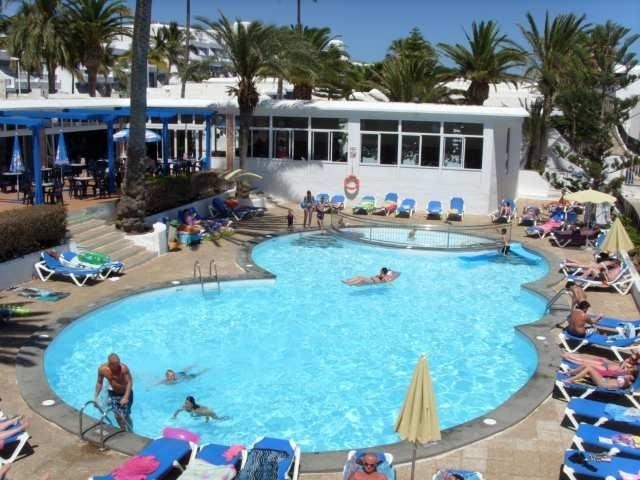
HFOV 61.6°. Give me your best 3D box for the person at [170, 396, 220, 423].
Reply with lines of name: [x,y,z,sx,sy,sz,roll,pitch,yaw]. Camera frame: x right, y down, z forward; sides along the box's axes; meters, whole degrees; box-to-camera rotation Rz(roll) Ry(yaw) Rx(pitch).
person: [-2.594,3.548,11.265,0.857,0.359,0.466,8,-3,-10]

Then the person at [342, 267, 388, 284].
person: [1.640,1.277,18.282,1.396,0.504,0.600,0,22,-4]

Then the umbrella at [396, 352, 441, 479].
umbrella: [1.541,2.467,8.352,0.690,1.330,0.329,2,10,6]

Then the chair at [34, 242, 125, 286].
chair: [-7.655,0.804,17.018,2.187,1.036,1.352,1,9,2]

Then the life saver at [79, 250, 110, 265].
life saver: [-7.277,0.588,17.298,0.724,0.231,0.487,13,12,2]
